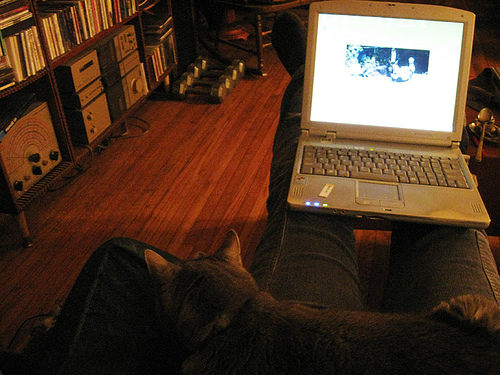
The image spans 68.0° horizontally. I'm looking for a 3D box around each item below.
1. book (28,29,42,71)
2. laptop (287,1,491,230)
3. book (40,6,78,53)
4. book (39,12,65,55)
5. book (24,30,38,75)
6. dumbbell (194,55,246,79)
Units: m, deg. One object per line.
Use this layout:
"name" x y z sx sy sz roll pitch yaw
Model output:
"book" -0.878 -0.563 1.531 0.025 0.103 0.101 -7 50 -22
"laptop" 0.344 -0.165 1.116 0.573 0.655 0.461 7 14 7
"book" -0.845 -0.737 1.738 0.045 0.194 0.187 -11 24 -12
"book" -0.870 -0.700 1.669 0.039 0.142 0.101 7 32 2
"book" -0.887 -0.539 1.504 0.026 0.110 0.109 -2 18 -15
"dumbbell" -0.249 -0.978 3.037 0.359 0.174 0.166 7 13 18
